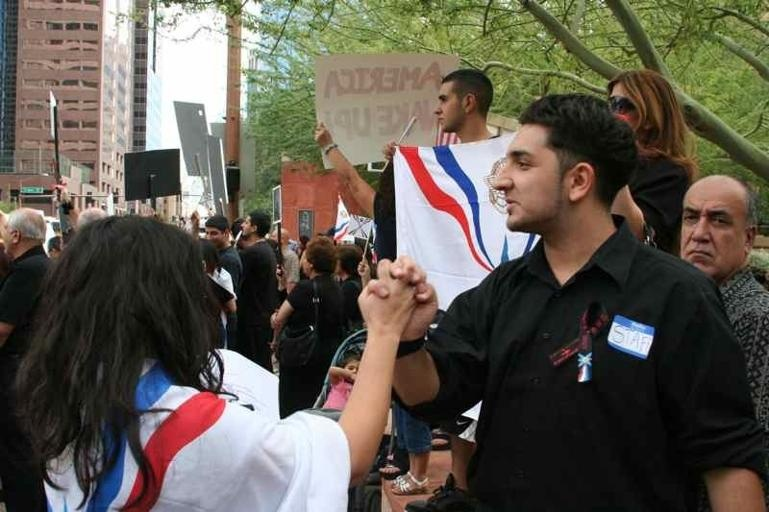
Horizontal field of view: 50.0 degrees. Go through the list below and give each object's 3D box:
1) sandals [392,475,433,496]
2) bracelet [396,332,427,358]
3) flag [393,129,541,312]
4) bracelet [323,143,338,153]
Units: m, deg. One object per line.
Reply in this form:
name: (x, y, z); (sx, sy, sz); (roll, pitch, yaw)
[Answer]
sandals: (0.190, 1.776, 6.400); (0.233, 0.097, 0.133); (5, -8, -8)
bracelet: (0.114, 0.387, 3.562); (0.107, 0.042, 0.086); (-15, 3, -27)
flag: (0.489, -0.175, 4.924); (1.230, 1.369, 0.146); (-2, -3, 16)
bracelet: (-0.469, -0.889, 6.980); (0.091, 0.055, 0.095); (-42, -4, 19)
